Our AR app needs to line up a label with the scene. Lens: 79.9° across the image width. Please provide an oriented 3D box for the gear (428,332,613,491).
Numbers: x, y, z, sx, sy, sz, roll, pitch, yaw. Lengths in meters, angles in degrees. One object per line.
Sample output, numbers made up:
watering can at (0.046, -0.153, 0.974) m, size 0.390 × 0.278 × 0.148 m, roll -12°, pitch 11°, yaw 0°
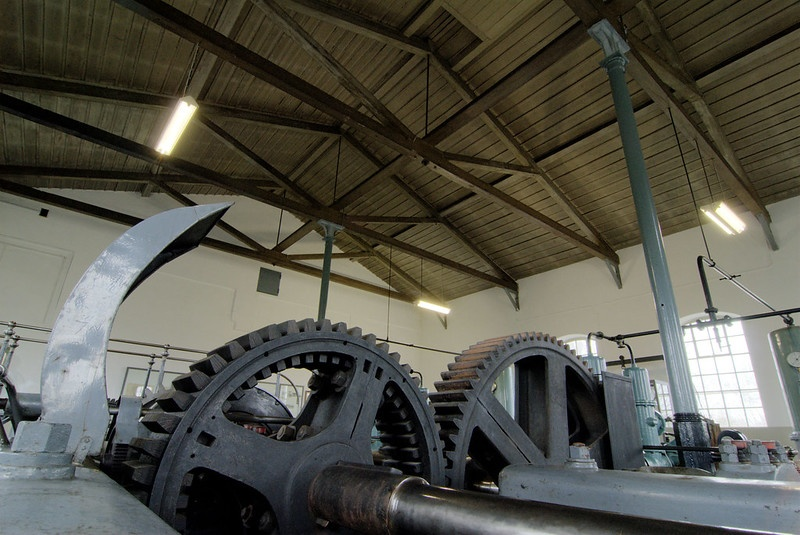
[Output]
gear at (1.400, 1.672, 5.401) m, size 1.672 × 1.717 × 0.282 m, roll -3°, pitch -9°, yaw -33°
